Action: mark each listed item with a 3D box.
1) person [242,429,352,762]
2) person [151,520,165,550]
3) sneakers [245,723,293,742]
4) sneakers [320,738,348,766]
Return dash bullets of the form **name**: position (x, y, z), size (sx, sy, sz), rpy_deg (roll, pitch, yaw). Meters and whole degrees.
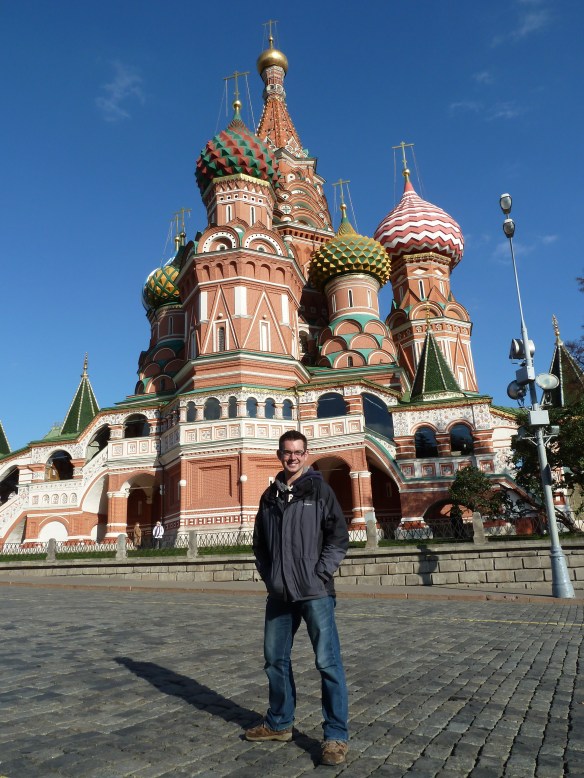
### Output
- **person**: position (0.050, 1.038, 3.456), size (0.702, 1.641, 0.476), rpy_deg (-16, -18, 42)
- **person**: position (-5.699, 6.196, 27.003), size (0.411, 1.102, 2.632), rpy_deg (-1, -12, -12)
- **sneakers**: position (-0.132, 1.816, 3.348), size (0.280, 0.122, 0.089), rpy_deg (6, -33, -1)
- **sneakers**: position (0.191, 1.710, 2.963), size (0.101, 0.087, 0.114), rpy_deg (-6, -12, 10)
